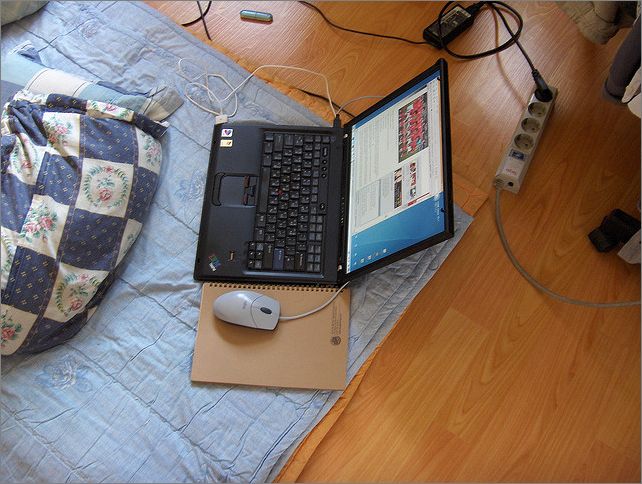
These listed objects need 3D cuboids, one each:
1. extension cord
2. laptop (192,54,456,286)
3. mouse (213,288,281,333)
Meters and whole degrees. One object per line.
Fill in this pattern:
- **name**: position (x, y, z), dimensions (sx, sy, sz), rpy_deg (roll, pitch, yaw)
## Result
- **extension cord**: position (0.511, -0.255, 1.290), dimensions (0.096, 0.062, 0.375), rpy_deg (20, 82, 18)
- **laptop**: position (-0.004, -0.165, 1.201), dimensions (0.567, 0.423, 0.401), rpy_deg (5, 49, 0)
- **mouse**: position (-0.173, 0.154, 1.175), dimensions (0.149, 0.049, 0.063), rpy_deg (9, 50, 3)
